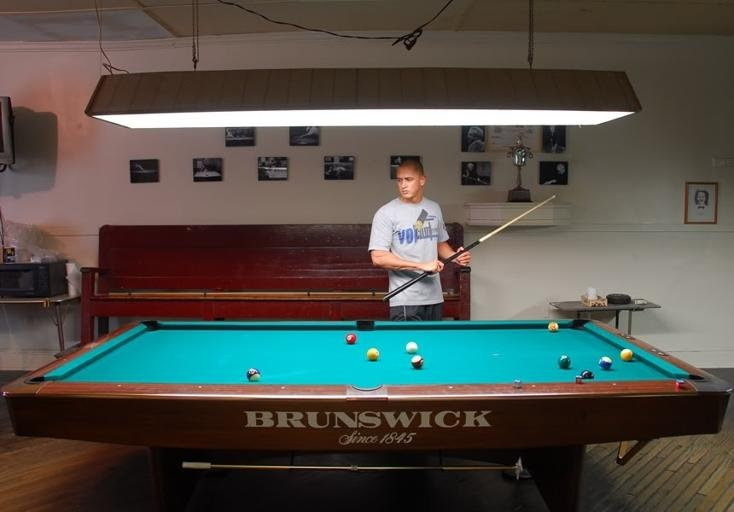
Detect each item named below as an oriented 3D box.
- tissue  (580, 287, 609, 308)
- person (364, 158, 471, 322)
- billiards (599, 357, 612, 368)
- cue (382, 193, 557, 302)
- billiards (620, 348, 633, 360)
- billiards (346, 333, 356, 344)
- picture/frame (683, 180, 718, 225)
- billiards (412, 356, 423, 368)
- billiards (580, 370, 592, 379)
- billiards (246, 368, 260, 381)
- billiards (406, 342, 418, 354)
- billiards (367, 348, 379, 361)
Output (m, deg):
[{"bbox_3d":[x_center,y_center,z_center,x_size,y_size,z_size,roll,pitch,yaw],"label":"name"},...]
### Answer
[{"bbox_3d":[2.184,0.419,6.362,0.178,0.184,0.318,1,-1,5],"label":"tissue "},{"bbox_3d":[0.408,-0.112,5.116,0.589,1.232,0.664,0,4,33],"label":"person"},{"bbox_3d":[1.456,0.658,4.053,0.066,0.061,0.072,-8,21,-7],"label":"billiards"},{"bbox_3d":[0.911,-0.126,5.950,1.748,0.070,0.072,-31,47,-10],"label":"cue"},{"bbox_3d":[1.627,0.617,4.157,0.068,0.063,0.067,6,4,31],"label":"billiards"},{"bbox_3d":[-0.101,0.549,4.440,0.062,0.065,0.060,0,0,-1],"label":"billiards"},{"bbox_3d":[3.320,-0.556,6.626,0.485,0.573,0.043,-1,4,1],"label":"picture/frame"},{"bbox_3d":[0.307,0.651,4.048,0.067,0.065,0.064,12,42,-5],"label":"billiards"},{"bbox_3d":[1.294,0.702,3.921,0.047,0.028,0.059,-1,0,6],"label":"billiards"},{"bbox_3d":[-0.665,0.704,3.896,0.070,0.068,0.069,-10,26,28],"label":"billiards"},{"bbox_3d":[0.294,0.596,4.280,0.069,0.051,0.068,-4,-10,21],"label":"billiards"},{"bbox_3d":[0.039,0.620,4.144,0.073,0.068,0.071,-8,8,-20],"label":"billiards"}]
